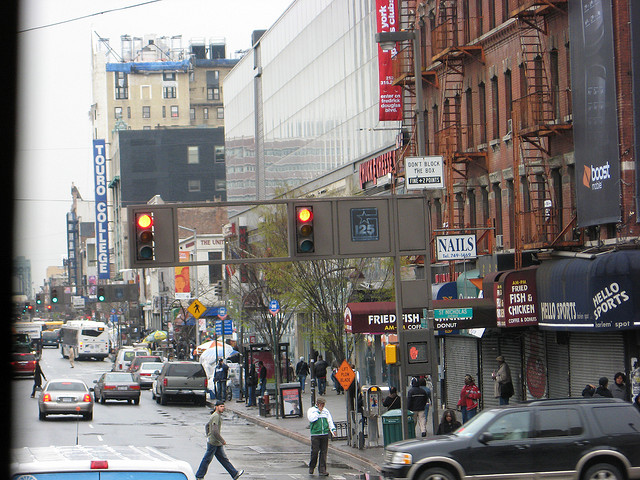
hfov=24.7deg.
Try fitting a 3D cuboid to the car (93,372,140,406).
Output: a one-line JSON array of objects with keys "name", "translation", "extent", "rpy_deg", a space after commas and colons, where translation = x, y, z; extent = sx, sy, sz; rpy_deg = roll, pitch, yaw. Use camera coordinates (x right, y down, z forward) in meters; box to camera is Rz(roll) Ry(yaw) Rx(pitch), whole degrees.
[{"name": "car", "translation": [-9.102, 6.649, 65.286], "extent": [2.049, 1.495, 2.326], "rpy_deg": [2, -6, -15]}]

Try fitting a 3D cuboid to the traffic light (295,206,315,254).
[{"name": "traffic light", "translation": [-0.386, -0.300, 42.656], "extent": [0.623, 1.384, 0.392], "rpy_deg": [1, -5, -20]}]

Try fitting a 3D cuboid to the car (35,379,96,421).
[{"name": "car", "translation": [-9.792, 6.189, 56.275], "extent": [2.011, 1.595, 1.620], "rpy_deg": [0, -5, -12]}]

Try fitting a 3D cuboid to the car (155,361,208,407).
[{"name": "car", "translation": [-6.350, 6.444, 66.741], "extent": [2.008, 2.071, 4.351], "rpy_deg": [2, -1, -14]}]
